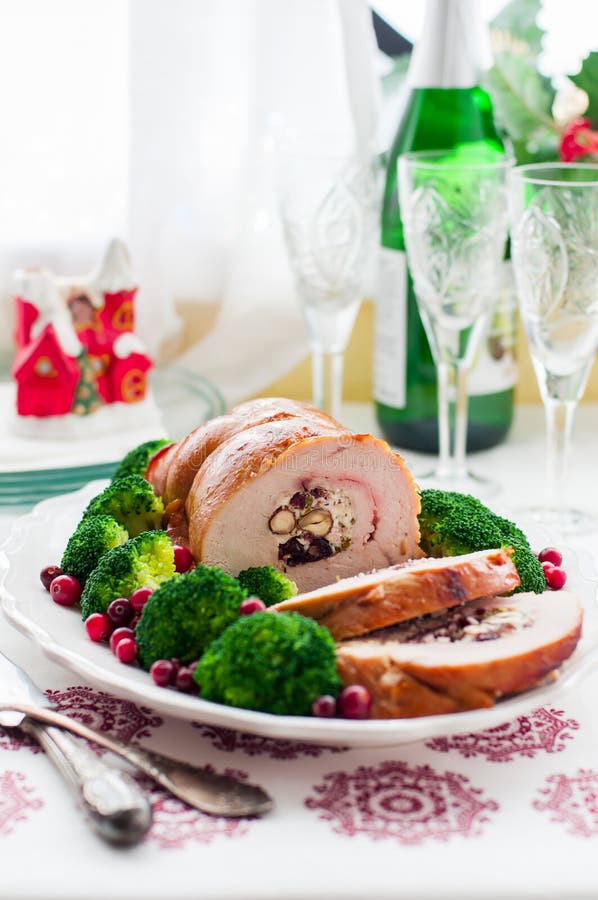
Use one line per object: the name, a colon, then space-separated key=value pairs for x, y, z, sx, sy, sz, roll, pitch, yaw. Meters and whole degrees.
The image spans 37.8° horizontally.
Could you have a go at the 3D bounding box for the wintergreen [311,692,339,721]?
wintergreen: x=0.014 y=0.141 z=0.483 sx=0.013 sy=0.012 sz=0.007 roll=30 pitch=5 yaw=1

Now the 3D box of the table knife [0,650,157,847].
table knife: x=-0.116 y=0.161 z=0.455 sx=0.040 sy=0.024 sz=0.215 roll=-8 pitch=13 yaw=-23

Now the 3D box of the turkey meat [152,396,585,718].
turkey meat: x=0.035 y=0.063 z=0.646 sx=0.311 sy=0.130 sz=0.373 roll=-4 pitch=17 yaw=-17

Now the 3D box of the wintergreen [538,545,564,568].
wintergreen: x=0.203 y=0.086 z=0.709 sx=0.015 sy=0.017 sz=0.016 roll=-21 pitch=5 yaw=-9

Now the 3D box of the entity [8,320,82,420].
entity: x=-0.311 y=-0.092 z=1.043 sx=0.093 sy=0.102 sz=0.094 roll=4 pitch=9 yaw=1

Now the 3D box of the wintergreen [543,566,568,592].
wintergreen: x=0.198 y=0.099 z=0.675 sx=0.017 sy=0.016 sz=0.016 roll=-10 pitch=1 yaw=8

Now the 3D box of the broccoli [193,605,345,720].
broccoli: x=-0.017 y=0.112 z=0.498 sx=0.061 sy=0.022 sz=0.064 roll=1 pitch=15 yaw=-5
